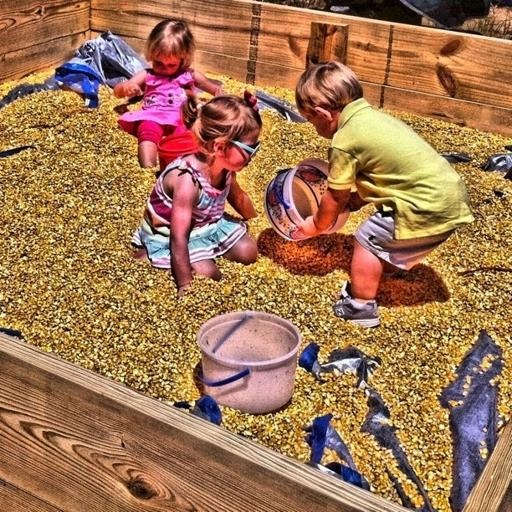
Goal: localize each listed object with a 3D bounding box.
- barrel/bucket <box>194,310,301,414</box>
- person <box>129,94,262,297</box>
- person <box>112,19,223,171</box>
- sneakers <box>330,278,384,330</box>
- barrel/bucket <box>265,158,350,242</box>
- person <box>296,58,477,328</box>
[{"bbox_3d":[-0.008,0.395,2.308,0.393,0.191,0.386,-2,26,1],"label":"barrel/bucket"},{"bbox_3d":[-0.220,-0.291,2.764,0.595,0.847,0.552,-5,36,-18],"label":"person"},{"bbox_3d":[-0.705,-1.185,4.475,0.863,0.611,1.119,-5,-7,-15],"label":"person"},{"bbox_3d":[0.440,0.232,2.786,0.292,0.102,0.102,25,26,34],"label":"sneakers"},{"bbox_3d":[0.422,-0.271,3.448,0.563,0.312,0.470,6,-12,2],"label":"barrel/bucket"},{"bbox_3d":[0.640,-0.295,2.965,0.715,1.086,1.029,-20,30,-32],"label":"person"}]
